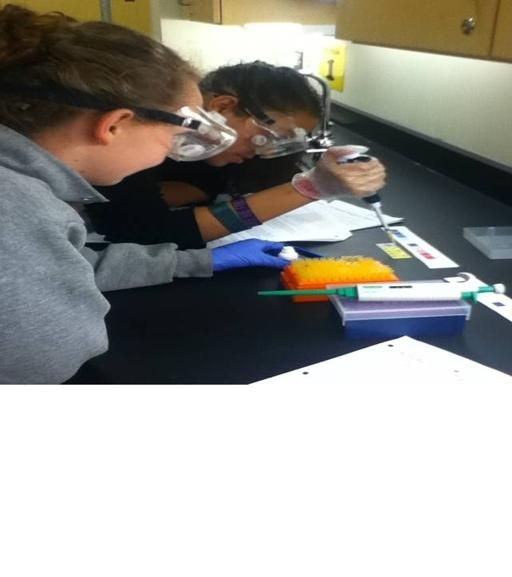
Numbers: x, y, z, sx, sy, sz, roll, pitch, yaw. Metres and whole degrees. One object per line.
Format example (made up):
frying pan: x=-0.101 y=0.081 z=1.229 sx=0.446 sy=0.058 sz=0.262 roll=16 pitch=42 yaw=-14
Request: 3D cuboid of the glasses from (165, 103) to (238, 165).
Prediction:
glasses: x=-0.109 y=-0.330 z=1.152 sx=0.153 sy=0.050 sz=0.106 roll=-11 pitch=5 yaw=-14

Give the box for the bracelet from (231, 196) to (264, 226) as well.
bracelet: x=-0.028 y=-0.203 z=1.473 sx=0.032 sy=0.086 sz=0.062 roll=-42 pitch=44 yaw=10

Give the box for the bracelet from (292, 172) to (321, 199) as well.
bracelet: x=0.141 y=-0.276 z=1.451 sx=0.079 sy=0.024 sz=0.082 roll=51 pitch=32 yaw=12
